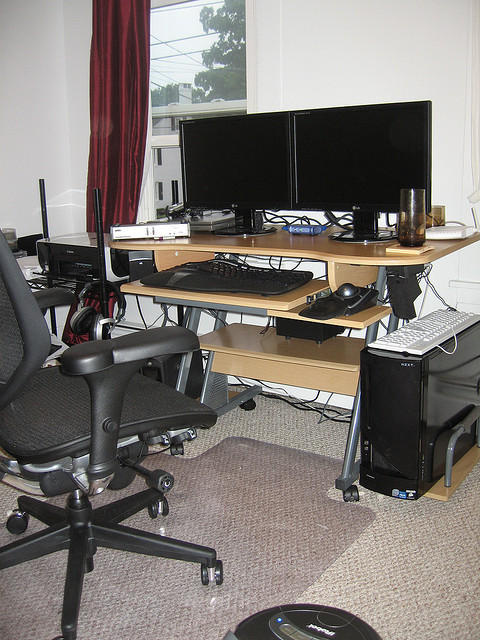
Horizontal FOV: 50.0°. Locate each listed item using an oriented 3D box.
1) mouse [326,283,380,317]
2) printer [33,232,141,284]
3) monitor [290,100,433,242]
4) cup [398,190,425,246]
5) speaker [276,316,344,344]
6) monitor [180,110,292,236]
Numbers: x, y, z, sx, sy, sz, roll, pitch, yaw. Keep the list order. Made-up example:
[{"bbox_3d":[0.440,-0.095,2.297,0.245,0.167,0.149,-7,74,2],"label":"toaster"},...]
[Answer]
[{"bbox_3d":[0.352,-0.073,1.553,0.084,0.063,0.141,9,21,43],"label":"mouse"},{"bbox_3d":[-0.706,-0.296,2.425,0.438,0.155,0.344,8,19,22],"label":"printer"},{"bbox_3d":[0.410,-0.508,1.738,0.519,0.455,0.234,8,20,38],"label":"monitor"},{"bbox_3d":[0.516,-0.308,1.542,0.071,0.166,0.071,-2,10,0],"label":"cup"},{"bbox_3d":[0.255,0.037,1.908,0.257,0.097,0.196,0,10,8],"label":"speaker"},{"bbox_3d":[-0.017,-0.592,2.070,0.499,0.452,0.266,5,16,30],"label":"monitor"}]
